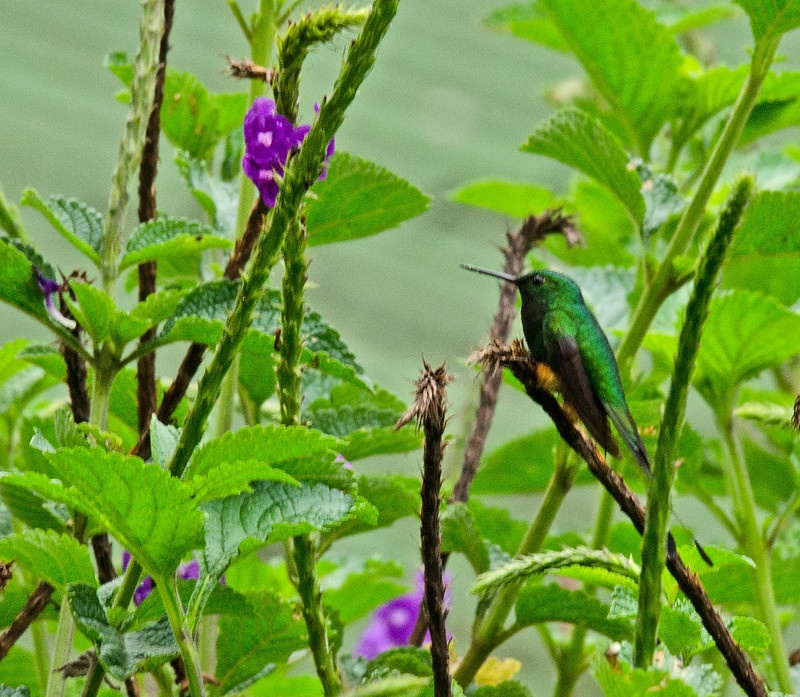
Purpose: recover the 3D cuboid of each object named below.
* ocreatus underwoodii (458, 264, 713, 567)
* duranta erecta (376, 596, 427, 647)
[{"bbox_3d":[0.176,0.008,1.152,0.251,0.368,0.171,6,12,26],"label":"ocreatus underwoodii"},{"bbox_3d":[-0.005,0.300,1.334,0.022,0.059,0.129,12,-11,-17],"label":"duranta erecta"}]
